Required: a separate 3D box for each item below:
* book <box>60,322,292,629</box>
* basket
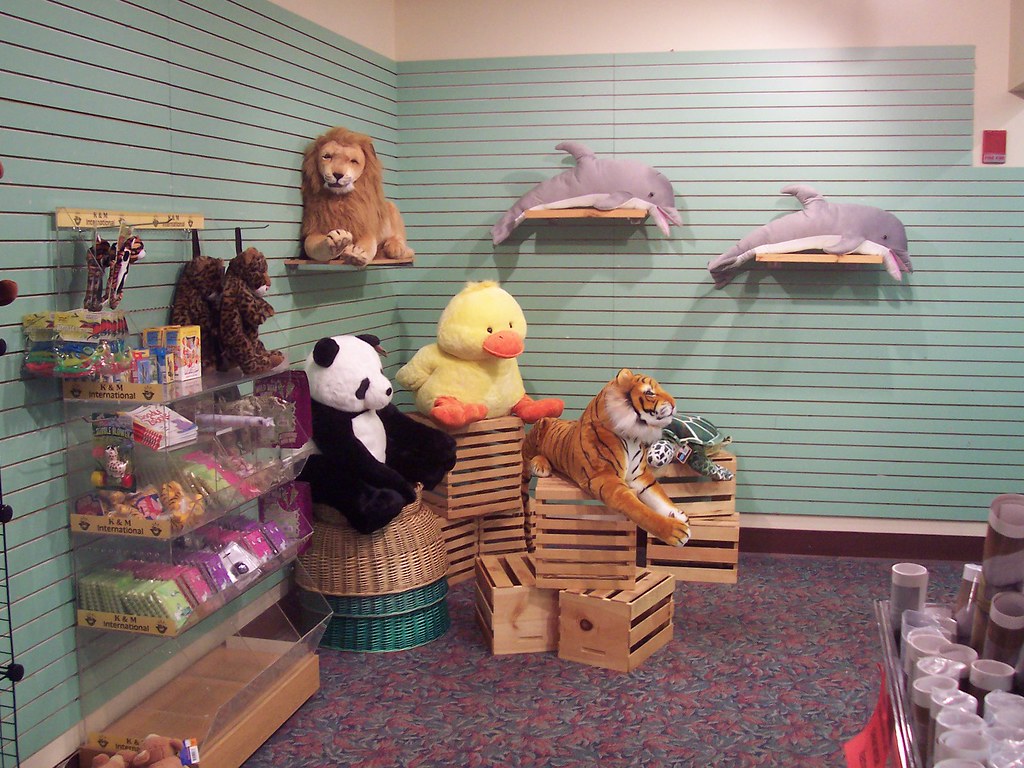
[{"bbox_3d":[-1.240,0.319,2.878,0.497,1.075,0.874,1,12,13],"label":"book"},{"bbox_3d":[-0.594,0.950,3.948,0.986,0.598,0.800,-1,0,-5],"label":"basket"}]
